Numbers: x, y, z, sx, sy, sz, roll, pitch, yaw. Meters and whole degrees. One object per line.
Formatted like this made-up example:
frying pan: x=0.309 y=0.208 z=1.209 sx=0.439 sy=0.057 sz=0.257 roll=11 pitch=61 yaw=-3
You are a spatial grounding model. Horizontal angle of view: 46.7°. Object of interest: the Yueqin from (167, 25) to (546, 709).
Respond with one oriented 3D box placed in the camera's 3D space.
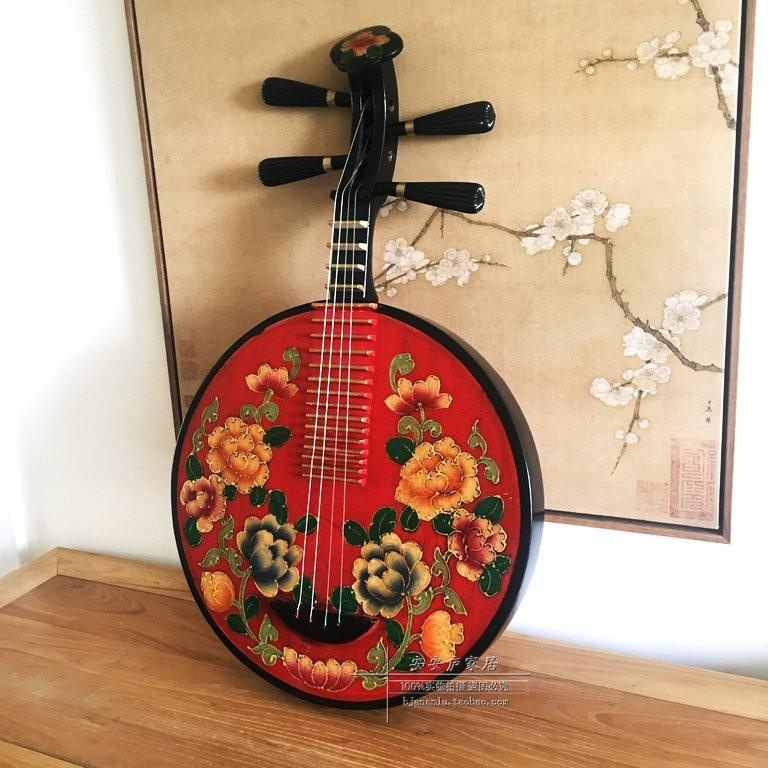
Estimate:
Yueqin: x=-0.009 y=-0.038 z=1.313 sx=0.573 sy=0.792 sz=0.173 roll=10 pitch=3 yaw=25
